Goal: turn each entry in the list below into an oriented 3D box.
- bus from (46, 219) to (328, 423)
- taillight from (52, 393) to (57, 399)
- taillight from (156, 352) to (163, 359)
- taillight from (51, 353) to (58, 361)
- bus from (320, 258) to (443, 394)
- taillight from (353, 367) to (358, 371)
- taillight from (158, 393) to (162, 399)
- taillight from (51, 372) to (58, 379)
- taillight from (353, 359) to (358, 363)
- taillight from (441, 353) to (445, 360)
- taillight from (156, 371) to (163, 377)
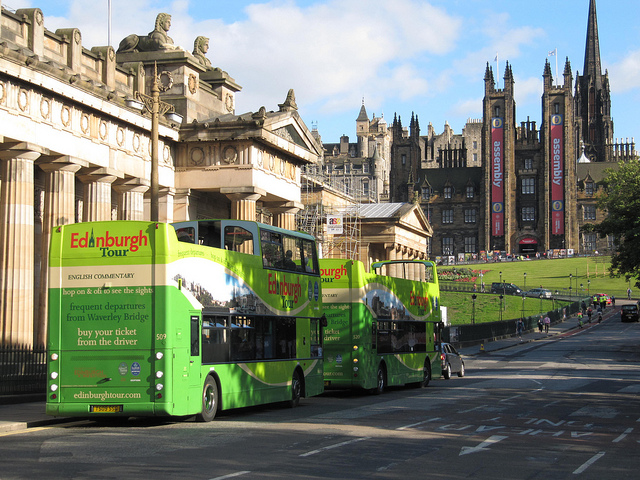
[{"bbox_3d":[-4.032,2.409,39.566,4.649,5.149,18.220,-1,-3,8],"label":"bus"},{"bbox_3d":[-7.836,4.612,37.589,0.142,0.167,0.024,10,-2,7],"label":"taillight"},{"bbox_3d":[-4.670,3.367,37.190,0.200,0.199,0.047,-1,-1,-7],"label":"taillight"},{"bbox_3d":[-7.862,3.452,37.715,0.186,0.189,0.044,0,-6,-9],"label":"taillight"},{"bbox_3d":[2.336,3.487,48.869,3.430,4.671,6.688,-3,-8,13],"label":"bus"},{"bbox_3d":[1.334,4.698,46.462,0.174,0.115,0.033,11,-2,1],"label":"taillight"},{"bbox_3d":[-4.668,4.533,37.170,0.144,0.145,0.034,1,-4,-7],"label":"taillight"},{"bbox_3d":[-7.870,3.992,37.648,0.193,0.194,0.045,-1,-3,-4],"label":"taillight"},{"bbox_3d":[1.337,4.405,46.482,0.154,0.036,0.155,0,2,-8],"label":"taillight"},{"bbox_3d":[5.476,5.105,55.987,0.223,0.233,0.233,-22,-15,39],"label":"taillight"},{"bbox_3d":[-4.667,3.898,37.161,0.182,0.186,0.043,2,-1,-8],"label":"taillight"}]
